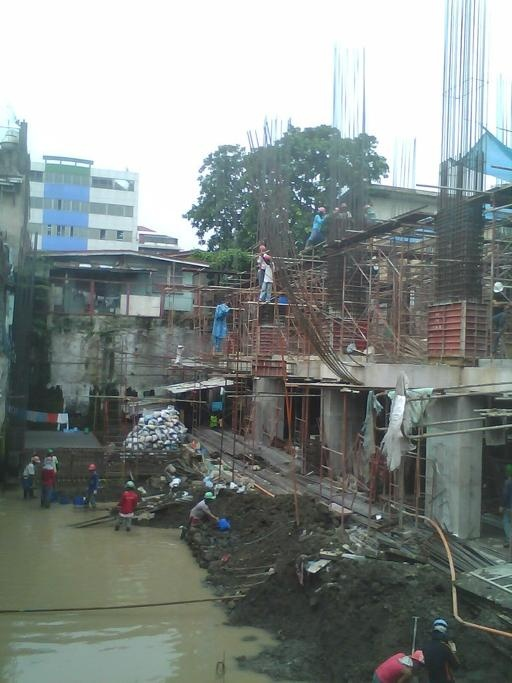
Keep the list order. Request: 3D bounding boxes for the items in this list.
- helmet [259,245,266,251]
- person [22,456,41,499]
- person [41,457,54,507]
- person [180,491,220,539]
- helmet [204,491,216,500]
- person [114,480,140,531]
[{"bbox_3d":[0.177,-2.413,19.454,0.181,0.223,0.214,-1,-7,3],"label":"helmet"},{"bbox_3d":[-5.754,3.389,18.683,0.436,1.050,1.398,0,-1,-17],"label":"person"},{"bbox_3d":[-5.052,3.385,17.775,0.310,1.139,0.727,0,-1,-15],"label":"person"},{"bbox_3d":[-1.214,3.675,15.826,0.816,0.821,1.429,0,-2,-4],"label":"person"},{"bbox_3d":[-1.025,3.366,15.988,0.249,0.122,0.282,5,-5,4],"label":"helmet"},{"bbox_3d":[-2.925,3.560,16.481,0.519,1.067,1.666,0,-2,-10],"label":"person"}]
